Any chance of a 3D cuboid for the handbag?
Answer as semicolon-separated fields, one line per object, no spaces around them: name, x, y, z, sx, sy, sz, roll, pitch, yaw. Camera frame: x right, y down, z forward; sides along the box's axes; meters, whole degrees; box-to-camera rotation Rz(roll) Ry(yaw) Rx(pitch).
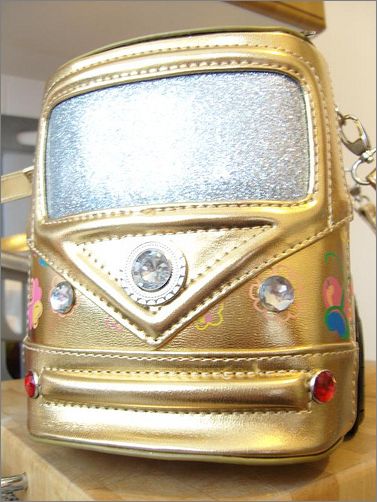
handbag;0.032;-0.011;0.556;0.374;0.362;0.222;0;8;28
